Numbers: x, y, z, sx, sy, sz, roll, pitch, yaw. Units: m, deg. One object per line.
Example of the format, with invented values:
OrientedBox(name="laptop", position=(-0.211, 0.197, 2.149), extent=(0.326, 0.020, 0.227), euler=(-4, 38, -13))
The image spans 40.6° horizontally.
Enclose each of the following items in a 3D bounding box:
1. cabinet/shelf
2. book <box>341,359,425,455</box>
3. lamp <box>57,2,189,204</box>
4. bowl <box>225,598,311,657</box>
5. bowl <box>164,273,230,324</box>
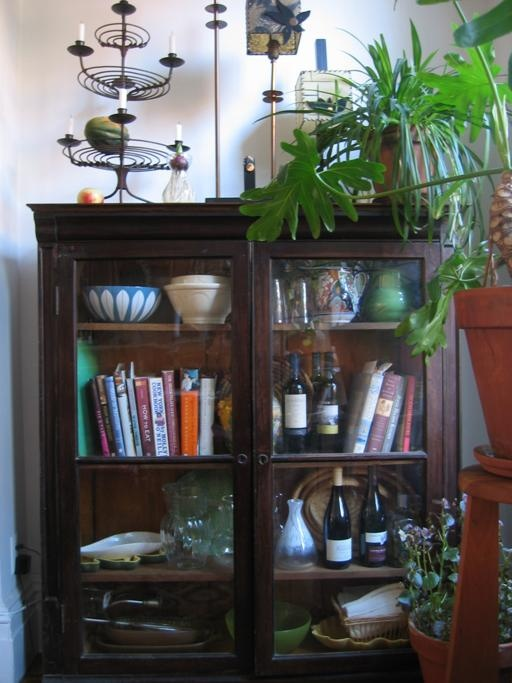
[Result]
OrientedBox(name="cabinet/shelf", position=(-0.039, 0.240, 1.734), extent=(1.331, 1.341, 0.420), euler=(-1, -6, -2))
OrientedBox(name="book", position=(0.341, 0.185, 1.987), extent=(0.218, 0.330, 0.363), euler=(5, -4, 7))
OrientedBox(name="lamp", position=(-0.369, -0.709, 1.951), extent=(0.390, 0.631, 0.418), euler=(-5, 4, -14))
OrientedBox(name="bowl", position=(0.019, 0.716, 1.733), extent=(0.149, 0.061, 0.142), euler=(-1, -10, 0))
OrientedBox(name="bowl", position=(-0.151, -0.105, 1.787), extent=(0.145, 0.084, 0.139), euler=(0, -1, 0))
